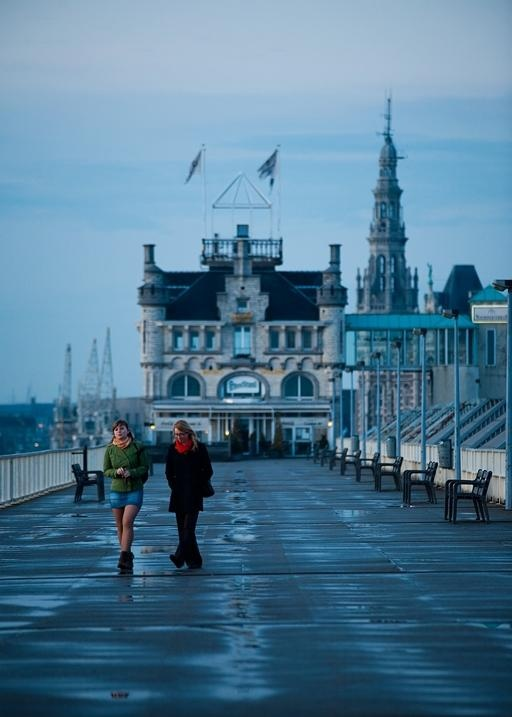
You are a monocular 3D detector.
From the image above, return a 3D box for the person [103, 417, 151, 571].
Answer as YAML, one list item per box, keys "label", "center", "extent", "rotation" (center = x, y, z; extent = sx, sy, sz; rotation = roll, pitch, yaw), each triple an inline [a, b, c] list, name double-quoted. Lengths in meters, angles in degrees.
- label: "person"
  center: [-1.321, 1.336, 14.846]
  extent: [0.446, 1.454, 1.900]
  rotation: [-1, -1, -4]

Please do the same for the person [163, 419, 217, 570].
- label: "person"
  center: [-0.666, 1.333, 14.652]
  extent: [0.450, 1.437, 1.084]
  rotation: [-1, -1, -3]

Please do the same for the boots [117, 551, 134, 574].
- label: "boots"
  center: [-1.272, 1.969, 14.184]
  extent: [0.133, 0.199, 0.431]
  rotation: [0, -8, -3]
